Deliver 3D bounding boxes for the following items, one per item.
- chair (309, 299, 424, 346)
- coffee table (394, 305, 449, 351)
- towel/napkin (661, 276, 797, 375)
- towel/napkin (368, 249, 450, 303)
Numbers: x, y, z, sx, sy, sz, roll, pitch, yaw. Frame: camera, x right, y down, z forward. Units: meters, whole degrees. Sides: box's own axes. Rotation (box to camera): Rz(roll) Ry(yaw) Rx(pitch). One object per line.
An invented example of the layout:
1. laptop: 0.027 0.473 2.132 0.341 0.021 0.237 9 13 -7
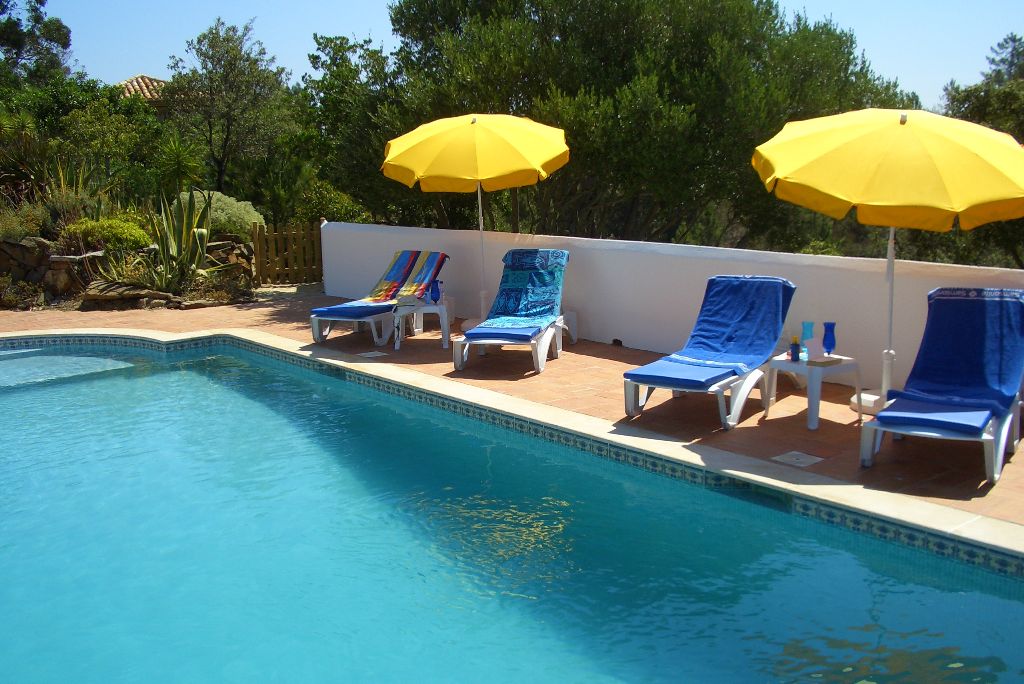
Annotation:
1. chair: -2.278 -0.393 10.725 0.926 0.435 1.204 3 15 19
2. coffee table: -1.352 -0.317 10.992 0.731 0.549 0.722 -1 14 -1
3. towel/napkin: 2.547 -0.249 8.048 0.933 0.622 1.466 9 31 33
4. towel/napkin: -1.576 -1.034 11.170 0.852 0.428 1.091 -4 26 32
